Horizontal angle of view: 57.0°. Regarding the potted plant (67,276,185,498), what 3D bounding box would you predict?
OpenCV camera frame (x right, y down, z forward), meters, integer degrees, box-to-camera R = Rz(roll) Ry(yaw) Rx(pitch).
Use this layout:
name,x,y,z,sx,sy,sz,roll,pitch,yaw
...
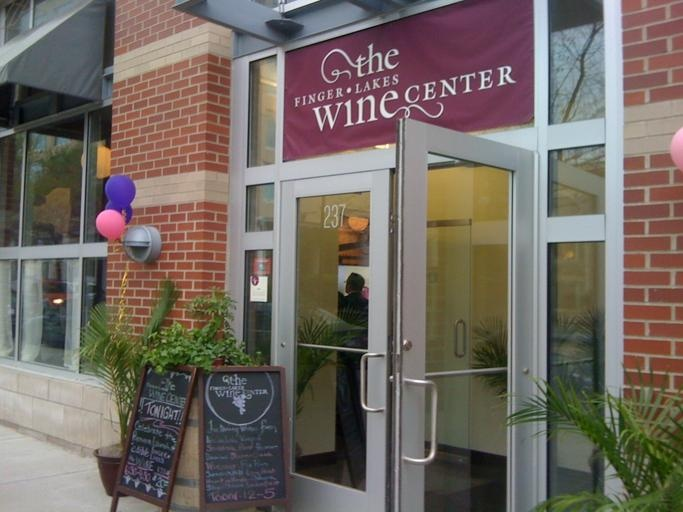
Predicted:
name,x,y,z,sx,sy,sz,roll,pitch,yaw
potted plant,-2.024,1.224,5.411,0.547,1.515,0.839,-4,-21,6

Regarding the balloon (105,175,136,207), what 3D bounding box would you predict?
name,x,y,z,sx,sy,sz,roll,pitch,yaw
balloon,-1.859,-0.543,5.304,0.217,0.263,0.277,2,-4,-19
